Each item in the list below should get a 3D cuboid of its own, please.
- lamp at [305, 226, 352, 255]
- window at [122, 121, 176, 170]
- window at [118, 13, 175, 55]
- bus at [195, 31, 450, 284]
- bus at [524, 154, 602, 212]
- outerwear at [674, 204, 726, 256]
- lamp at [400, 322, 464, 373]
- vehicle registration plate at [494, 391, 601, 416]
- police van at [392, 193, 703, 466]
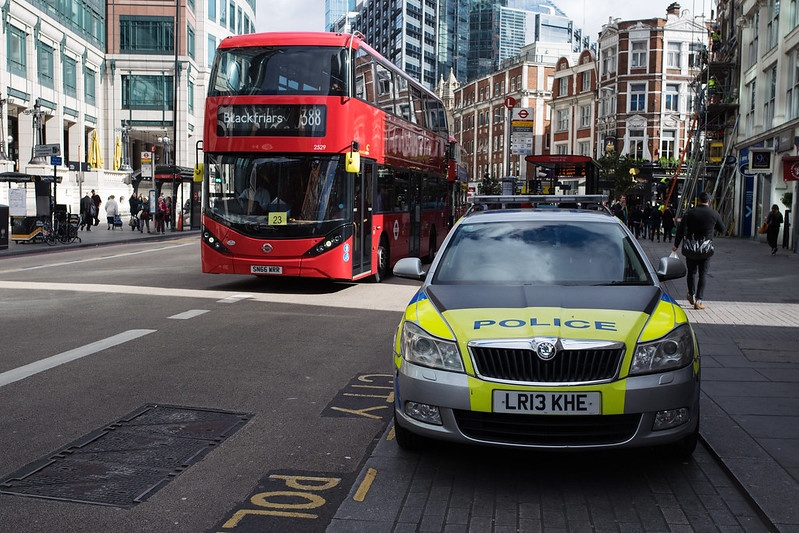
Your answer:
[{"bbox_3d":[-1.497,-0.672,14.347,0.779,0.245,0.570,-35,9,-34],"label":"lamp"},{"bbox_3d":[-25.594,-12.367,69.516,5.531,3.881,3.055,-3,12,-12],"label":"window"},{"bbox_3d":[-22.605,-20.617,60.742,4.720,3.485,0.188,1,5,0],"label":"window"},{"bbox_3d":[-1.570,-2.474,18.927,3.299,4.424,10.150,2,3,19],"label":"bus"},{"bbox_3d":[8.893,-4.826,38.127,3.146,2.741,10.191,-3,6,11],"label":"bus"},{"bbox_3d":[5.870,-0.741,13.310,0.900,0.926,0.509,8,1,23],"label":"outerwear"},{"bbox_3d":[0.235,0.626,5.410,0.317,0.168,0.419,12,12,-8],"label":"lamp"},{"bbox_3d":[1.105,1.024,5.122,0.808,0.163,0.049,0,7,5],"label":"vehicle registration plate"},{"bbox_3d":[1.309,0.613,5.957,2.384,1.889,2.133,2,8,21],"label":"police van"}]
